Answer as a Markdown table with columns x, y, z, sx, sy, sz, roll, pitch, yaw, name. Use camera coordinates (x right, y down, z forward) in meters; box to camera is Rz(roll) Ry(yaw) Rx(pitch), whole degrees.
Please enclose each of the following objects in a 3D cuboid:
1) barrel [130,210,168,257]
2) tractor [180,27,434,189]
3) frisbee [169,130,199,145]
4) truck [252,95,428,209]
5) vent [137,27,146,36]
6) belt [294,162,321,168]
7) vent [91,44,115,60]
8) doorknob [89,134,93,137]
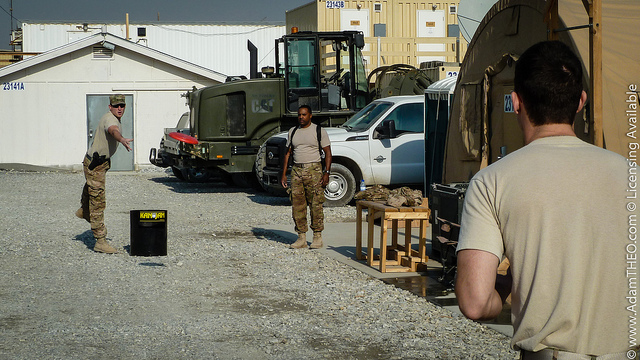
| x | y | z | sx | sy | sz | roll | pitch | yaw | name |
| --- | --- | --- | --- | --- | --- | --- | --- | --- | --- |
| -3.091 | 0.929 | 13.608 | 0.791 | 0.816 | 0.745 | 4 | -6 | -36 | barrel |
| -0.830 | -1.771 | 21.622 | 6.017 | 4.695 | 2.570 | 0 | 12 | 0 | tractor |
| -3.614 | -1.103 | 20.973 | 0.573 | 0.119 | 0.547 | 11 | 7 | -28 | frisbee |
| 1.747 | -0.726 | 19.991 | 6.429 | 2.617 | 3.446 | -2 | 3 | -21 | truck |
| -9.147 | -7.456 | 39.903 | 0.361 | 0.349 | 0.396 | -5 | 13 | -23 | vent |
| -0.244 | -0.275 | 14.544 | 0.469 | 0.091 | 0.150 | -1 | 12 | -3 | belt |
| -8.341 | -4.846 | 29.926 | 0.872 | 0.562 | 0.229 | -3 | 12 | -15 | vent |
| -8.774 | -1.673 | 29.867 | 0.109 | 0.094 | 0.057 | 0 | 8 | -4 | doorknob |
